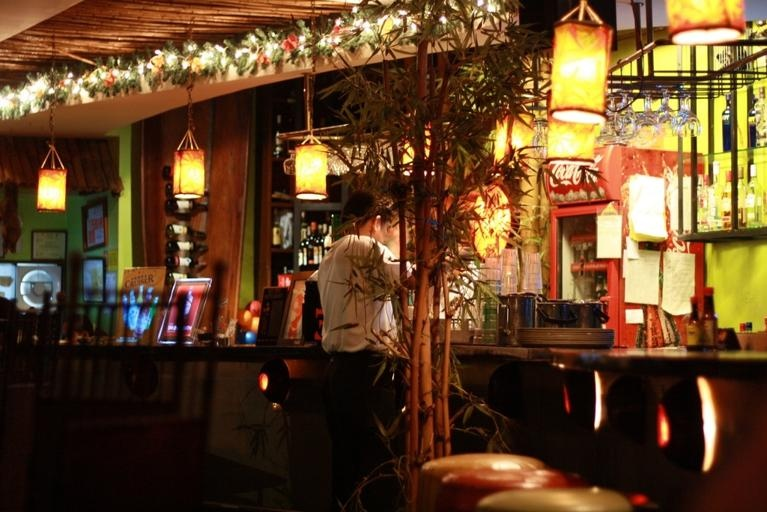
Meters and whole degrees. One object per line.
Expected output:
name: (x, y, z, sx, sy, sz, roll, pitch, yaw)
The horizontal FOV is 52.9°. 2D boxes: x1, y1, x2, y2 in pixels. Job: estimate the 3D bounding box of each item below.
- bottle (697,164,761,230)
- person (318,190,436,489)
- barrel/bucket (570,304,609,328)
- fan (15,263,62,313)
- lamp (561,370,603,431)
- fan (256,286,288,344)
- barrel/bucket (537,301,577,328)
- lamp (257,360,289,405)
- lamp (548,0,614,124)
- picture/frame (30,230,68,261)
bottle: (2.774, -0.469, 6.122, 0.158, 0.488, 0.464, 6, -8, -35)
person: (-0.118, 0.501, 4.284, 0.496, 1.710, 1.011, 1, -2, -6)
barrel/bucket: (1.163, 0.324, 4.271, 0.209, 0.142, 0.155, 2, -2, -11)
fan: (-5.033, 0.407, 11.242, 0.621, 0.640, 0.462, 2, -3, -27)
lamp: (0.993, 0.715, 3.805, 0.095, 0.307, 0.377, 1, -2, -9)
fan: (-0.807, 0.430, 5.510, 0.212, 0.395, 0.034, 0, 12, -41)
barrel/bucket: (0.977, 0.319, 4.301, 0.132, 0.125, 0.169, 0, 3, 5)
lamp: (-0.699, 0.810, 4.930, 0.157, 0.304, 0.277, 1, 1, -39)
lamp: (0.881, -0.882, 3.424, 0.263, 0.567, 0.282, 0, -3, 17)
picture/frame: (-4.959, -0.180, 11.358, 0.367, 0.383, 0.053, 8, -3, -17)
